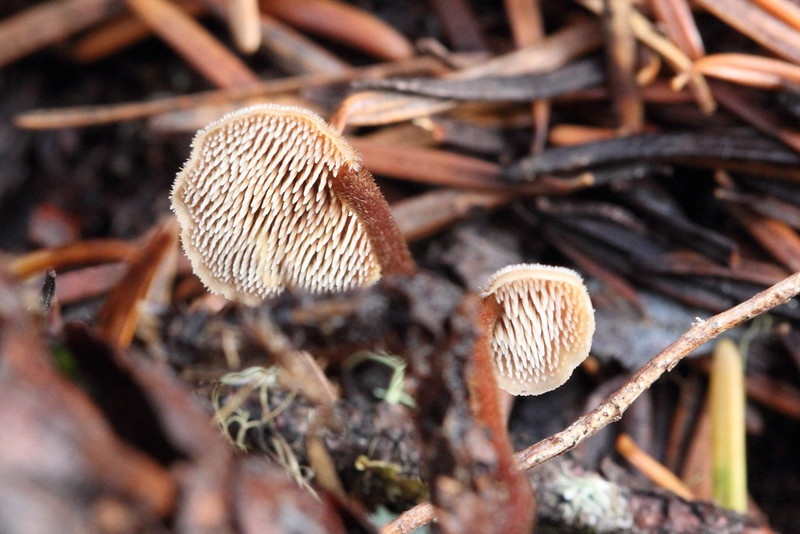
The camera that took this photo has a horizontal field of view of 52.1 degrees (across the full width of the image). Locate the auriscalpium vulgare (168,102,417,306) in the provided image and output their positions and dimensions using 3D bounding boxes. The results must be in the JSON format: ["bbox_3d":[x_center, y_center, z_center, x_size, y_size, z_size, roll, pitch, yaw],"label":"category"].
[{"bbox_3d":[-0.134,-0.056,1.041,0.256,0.258,0.144,-33,30,13],"label":"auriscalpium vulgare"}]
